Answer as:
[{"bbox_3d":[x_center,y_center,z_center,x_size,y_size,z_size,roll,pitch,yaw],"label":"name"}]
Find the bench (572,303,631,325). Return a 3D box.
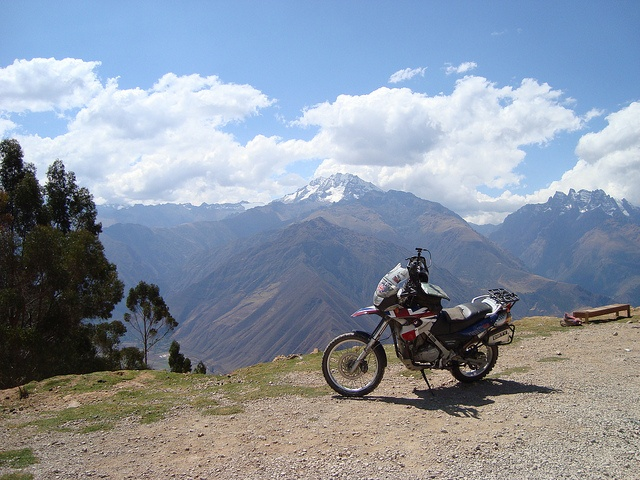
[{"bbox_3d":[15.905,4.136,28.122,3.308,1.079,1.325,2,-5,-12],"label":"bench"}]
